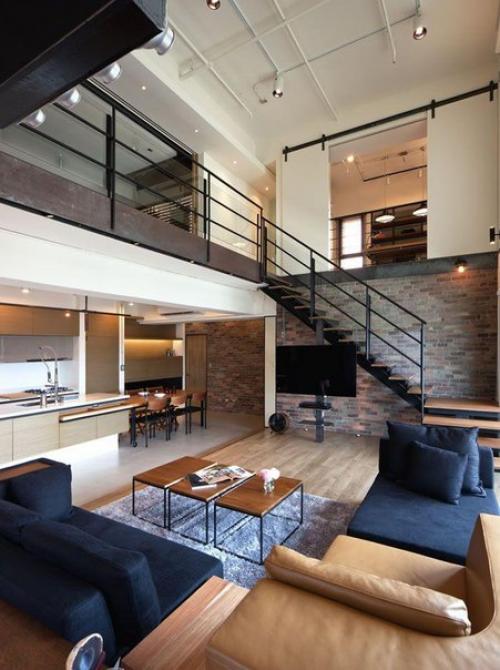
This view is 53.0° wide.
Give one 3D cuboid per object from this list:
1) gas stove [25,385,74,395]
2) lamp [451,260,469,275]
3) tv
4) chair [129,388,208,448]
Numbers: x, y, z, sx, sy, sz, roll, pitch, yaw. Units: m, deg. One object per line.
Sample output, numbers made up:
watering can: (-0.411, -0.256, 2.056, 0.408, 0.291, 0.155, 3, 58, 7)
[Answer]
gas stove: (-2.411, 0.687, 6.151, 0.642, 0.067, 0.555, 0, 1, 38)
lamp: (2.555, -0.808, 6.084, 0.157, 0.173, 0.155, 1, -7, -4)
tv: (0.895, 0.526, 6.641, 0.997, 0.609, 0.041, 0, 2, 39)
chair: (-1.299, 1.141, 7.133, 0.632, 0.374, 0.909, 1, 1, 26)
